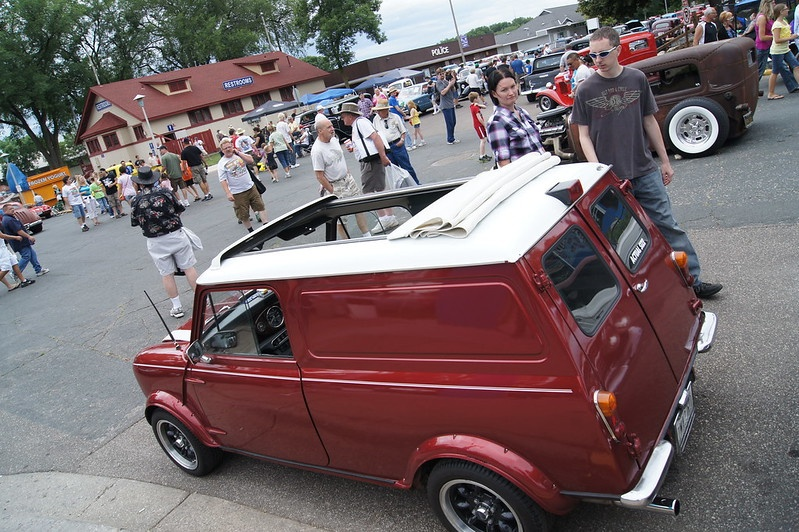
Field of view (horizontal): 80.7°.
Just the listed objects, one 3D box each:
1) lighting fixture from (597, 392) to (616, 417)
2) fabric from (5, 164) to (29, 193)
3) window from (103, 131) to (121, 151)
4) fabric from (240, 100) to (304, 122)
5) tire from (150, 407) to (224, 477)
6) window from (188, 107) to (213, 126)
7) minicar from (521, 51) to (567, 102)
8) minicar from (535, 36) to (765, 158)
[{"bbox_3d":[1.255,0.834,2.876,0.077,0.153,0.101,4,27,44],"label":"lighting fixture"},{"bbox_3d":[-23.505,-5.365,28.745,0.865,1.307,4.956,-28,22,-32],"label":"fabric"},{"bbox_3d":[-28.499,-12.226,46.514,2.467,1.558,0.608,-3,22,33],"label":"window"},{"bbox_3d":[-9.402,-11.329,35.084,3.162,0.786,3.349,-18,13,-2],"label":"fabric"},{"bbox_3d":[-2.125,1.745,4.760,0.645,0.661,0.228,34,22,20],"label":"tire"},{"bbox_3d":[-19.993,-14.758,46.857,0.284,1.250,1.993,4,22,32],"label":"window"},{"bbox_3d":[6.211,-8.408,20.944,1.927,1.702,3.451,6,35,33],"label":"minicar"},{"bbox_3d":[4.862,-3.246,10.324,4.549,2.218,2.780,11,36,30],"label":"minicar"}]
